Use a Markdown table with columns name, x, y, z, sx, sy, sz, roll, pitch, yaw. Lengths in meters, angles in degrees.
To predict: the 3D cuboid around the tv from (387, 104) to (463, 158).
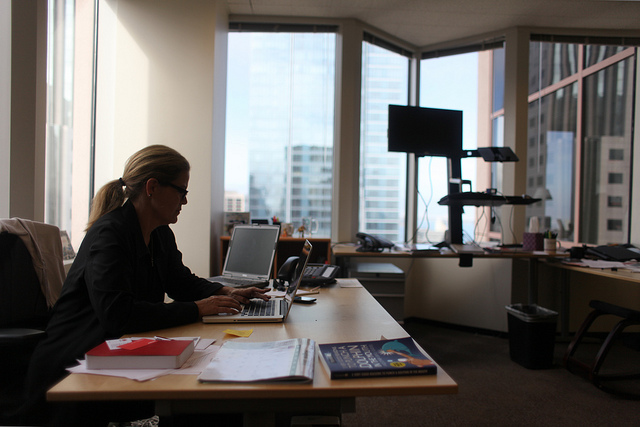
| name | x | y | z | sx | sy | sz | roll | pitch | yaw |
| --- | --- | --- | --- | --- | --- | --- | --- | --- | --- |
| tv | 1.081 | -0.846 | 5.459 | 0.625 | 0.375 | 0.062 | 2 | 2 | -6 |

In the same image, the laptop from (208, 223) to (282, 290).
| name | x | y | z | sx | sy | sz | roll | pitch | yaw |
| --- | --- | --- | --- | --- | --- | --- | --- | --- | --- |
| laptop | -0.584 | 0.355 | 4.266 | 0.537 | 0.389 | 0.487 | 1 | 0 | 39 |

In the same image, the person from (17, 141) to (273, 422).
| name | x | y | z | sx | sy | sz | roll | pitch | yaw |
| --- | --- | --- | --- | --- | --- | --- | --- | --- | --- |
| person | -1.251 | 0.393 | 3.405 | 1.416 | 1.589 | 0.733 | -9 | 15 | -29 |

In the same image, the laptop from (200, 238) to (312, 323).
| name | x | y | z | sx | sy | sz | roll | pitch | yaw |
| --- | --- | --- | --- | --- | --- | --- | --- | --- | --- |
| laptop | -0.399 | 0.459 | 3.591 | 0.557 | 0.355 | 0.583 | 0 | -2 | 0 |

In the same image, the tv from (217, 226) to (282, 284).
| name | x | y | z | sx | sy | sz | roll | pitch | yaw |
| --- | --- | --- | --- | --- | --- | --- | --- | --- | --- |
| tv | -0.549 | 0.313 | 4.345 | 0.503 | 0.360 | 0.427 | 2 | -3 | 32 |

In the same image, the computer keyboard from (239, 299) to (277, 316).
| name | x | y | z | sx | sy | sz | roll | pitch | yaw |
| --- | --- | --- | --- | --- | --- | --- | --- | --- | --- |
| computer keyboard | -0.405 | 0.633 | 3.522 | 0.247 | 0.020 | 0.242 | -1 | 13 | 2 |

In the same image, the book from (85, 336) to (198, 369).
| name | x | y | z | sx | sy | sz | roll | pitch | yaw |
| --- | --- | --- | --- | --- | --- | --- | --- | --- | --- |
| book | -1.031 | 0.798 | 3.069 | 0.591 | 0.131 | 0.225 | -2 | 13 | -3 |

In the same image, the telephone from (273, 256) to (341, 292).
| name | x | y | z | sx | sy | sz | roll | pitch | yaw |
| --- | --- | --- | --- | --- | --- | --- | --- | --- | --- |
| telephone | -0.133 | 0.443 | 4.135 | 0.532 | 0.214 | 0.370 | -7 | 14 | -23 |

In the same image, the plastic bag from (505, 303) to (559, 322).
| name | x | y | z | sx | sy | sz | roll | pitch | yaw |
| --- | --- | --- | --- | --- | --- | --- | --- | --- | --- |
| plastic bag | 1.992 | 0.937 | 4.986 | 0.197 | 0.098 | 0.273 | 0 | -1 | -10 |
